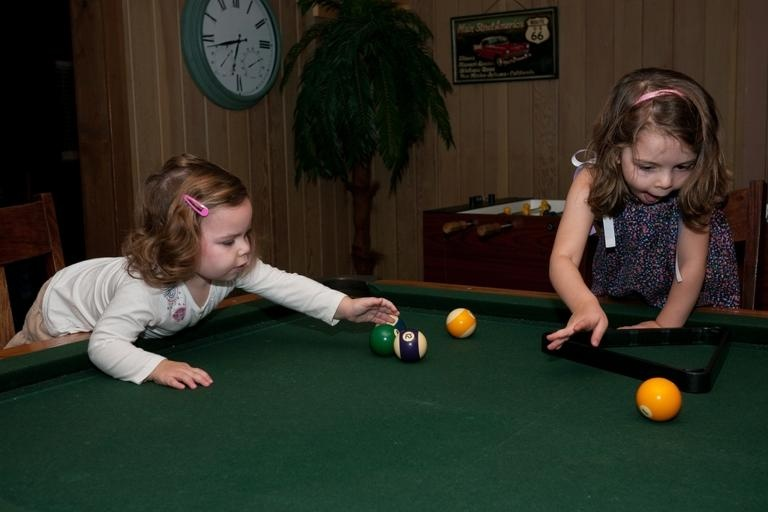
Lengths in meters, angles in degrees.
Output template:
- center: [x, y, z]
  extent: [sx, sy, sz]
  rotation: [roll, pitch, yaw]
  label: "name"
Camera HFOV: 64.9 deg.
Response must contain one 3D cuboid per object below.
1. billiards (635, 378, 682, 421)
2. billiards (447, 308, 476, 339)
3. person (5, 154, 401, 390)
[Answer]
- center: [0.755, 0.397, 1.656]
  extent: [0.117, 0.073, 0.107]
  rotation: [-18, 11, -21]
  label: "billiards"
- center: [0.282, 0.247, 2.262]
  extent: [0.101, 0.104, 0.103]
  rotation: [8, 6, 37]
  label: "billiards"
- center: [-0.709, 0.041, 2.306]
  extent: [1.292, 0.855, 0.820]
  rotation: [6, 13, 23]
  label: "person"
